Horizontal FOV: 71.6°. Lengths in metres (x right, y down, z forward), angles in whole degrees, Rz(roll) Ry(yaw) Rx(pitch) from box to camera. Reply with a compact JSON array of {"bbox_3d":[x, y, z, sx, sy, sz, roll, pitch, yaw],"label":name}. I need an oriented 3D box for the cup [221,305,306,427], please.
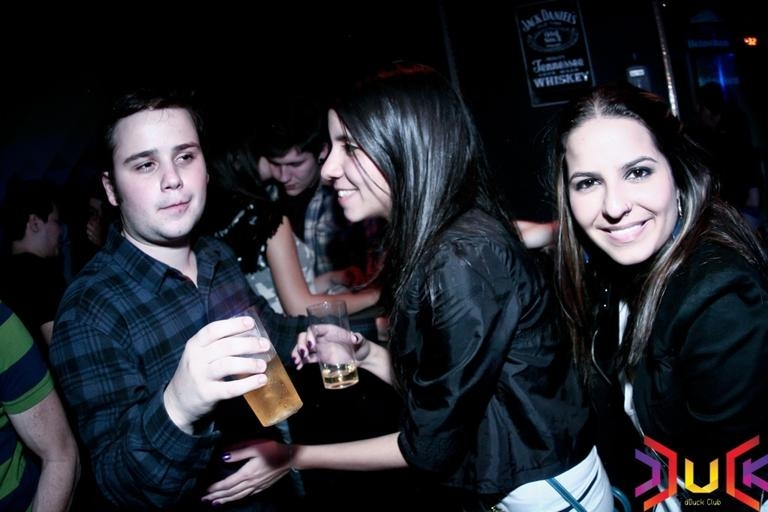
[{"bbox_3d":[-0.511,0.503,2.234,0.236,0.579,0.268,-22,20,-25],"label":"cup"}]
